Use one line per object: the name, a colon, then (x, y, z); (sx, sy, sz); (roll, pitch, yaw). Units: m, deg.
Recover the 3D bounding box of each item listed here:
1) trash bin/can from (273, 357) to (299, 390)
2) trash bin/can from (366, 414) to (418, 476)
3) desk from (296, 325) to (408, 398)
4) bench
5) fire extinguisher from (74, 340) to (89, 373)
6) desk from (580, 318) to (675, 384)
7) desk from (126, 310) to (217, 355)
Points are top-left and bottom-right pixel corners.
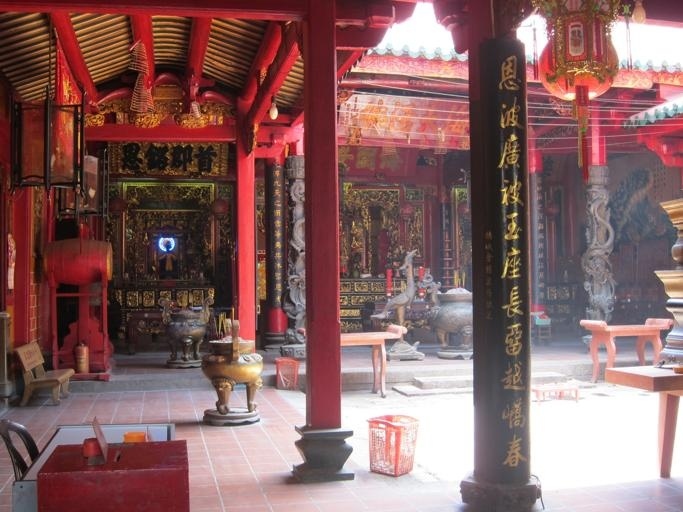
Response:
trash bin/can: (-0.744, 1.573, 9.492); (0.379, 0.394, 0.343); (-3, -16, 5)
trash bin/can: (0.406, 1.618, 6.143); (0.458, 0.431, 0.467); (18, -20, -41)
desk: (0.212, 1.377, 9.406); (1.179, 0.856, 0.484); (-2, -6, -4)
bench: (-3.495, 1.369, 8.504); (0.573, 0.740, 1.077); (-2, 1, -11)
fire extinguisher: (-3.289, 1.290, 9.220); (0.157, 0.388, 0.321); (0, -2, -16)
desk: (3.631, 1.219, 9.288); (1.294, 0.905, 0.537); (0, 0, -7)
desk: (-2.792, 1.172, 11.324); (0.920, 0.774, 2.980); (0, -2, -22)
